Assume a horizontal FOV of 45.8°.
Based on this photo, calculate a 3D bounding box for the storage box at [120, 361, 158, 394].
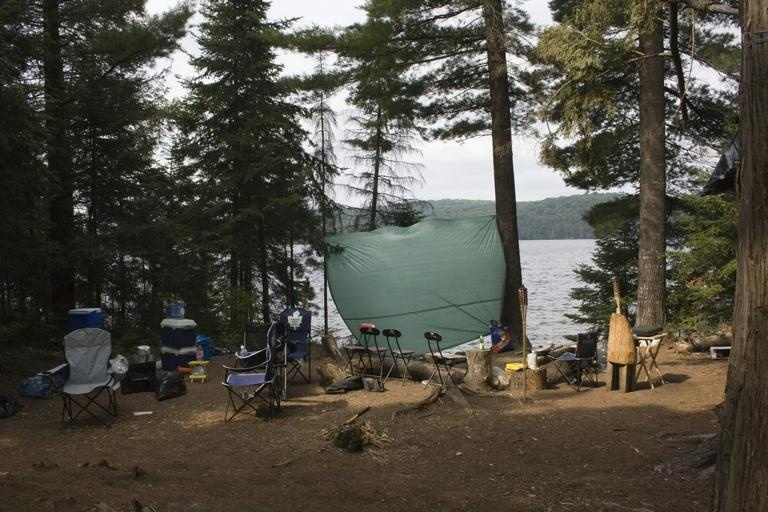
[{"bbox_3d":[-6.066,3.011,22.569,0.805,0.738,0.794,0,-1,-6],"label":"storage box"}]

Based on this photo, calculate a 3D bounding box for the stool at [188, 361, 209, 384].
[{"bbox_3d":[-4.790,2.979,23.490,0.542,0.489,0.492,1,-5,-9],"label":"stool"}]

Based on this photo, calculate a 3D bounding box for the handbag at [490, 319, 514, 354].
[{"bbox_3d":[3.382,2.336,26.227,0.940,1.061,0.446,1,-13,-35],"label":"handbag"}]

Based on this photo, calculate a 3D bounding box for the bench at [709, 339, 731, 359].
[{"bbox_3d":[8.650,2.437,23.460,0.479,0.432,0.614,-5,-2,18],"label":"bench"}]

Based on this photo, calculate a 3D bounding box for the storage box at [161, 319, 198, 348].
[{"bbox_3d":[-5.415,1.958,23.808,0.725,0.770,1.118,-2,1,-42],"label":"storage box"}]
